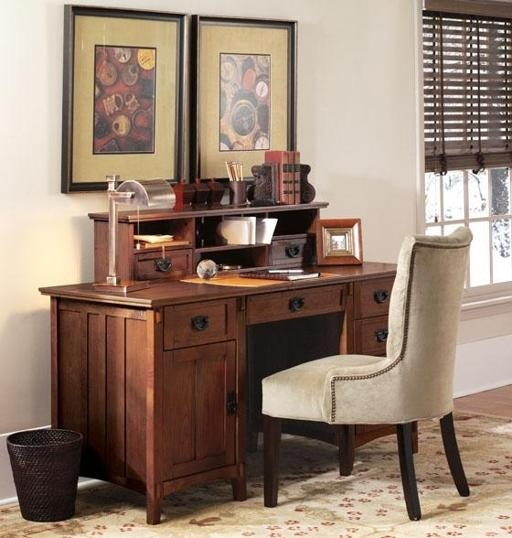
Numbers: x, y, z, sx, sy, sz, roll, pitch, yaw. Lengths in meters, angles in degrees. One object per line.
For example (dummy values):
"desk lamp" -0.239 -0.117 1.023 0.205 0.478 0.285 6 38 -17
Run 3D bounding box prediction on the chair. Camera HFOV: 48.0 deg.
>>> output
"chair" 0.513 0.285 2.446 0.868 1.315 0.981 2 2 34

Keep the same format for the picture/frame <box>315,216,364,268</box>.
"picture/frame" 0.381 -0.118 2.653 0.255 0.245 0.019 1 -16 -10

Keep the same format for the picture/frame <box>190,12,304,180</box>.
"picture/frame" -0.065 -0.812 2.680 0.839 0.986 0.076 -9 14 -42

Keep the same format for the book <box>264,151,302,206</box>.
"book" 0.121 -0.415 2.619 0.151 0.241 0.128 -2 9 3

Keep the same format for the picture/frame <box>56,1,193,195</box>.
"picture/frame" -0.516 -0.683 2.300 0.599 0.727 0.053 -10 11 -42
